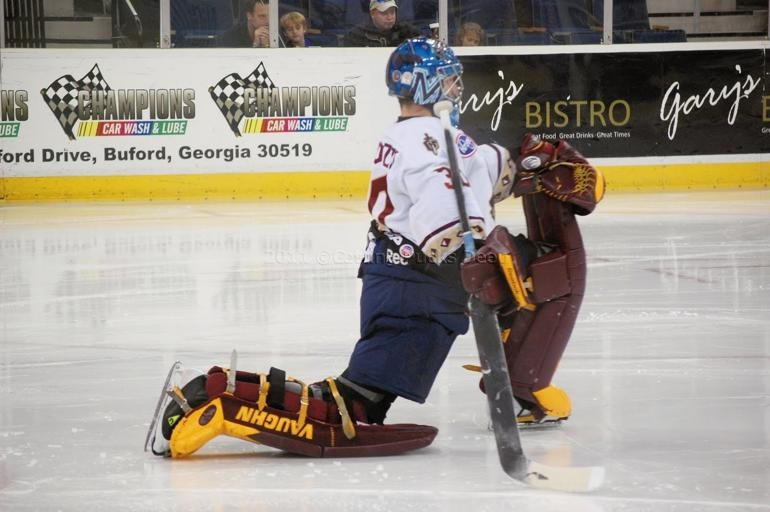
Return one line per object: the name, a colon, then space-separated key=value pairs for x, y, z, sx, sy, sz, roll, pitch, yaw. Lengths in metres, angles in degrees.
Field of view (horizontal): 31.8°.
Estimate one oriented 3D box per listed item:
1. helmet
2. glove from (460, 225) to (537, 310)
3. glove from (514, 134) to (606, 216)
helmet: x=0.213 y=-1.181 z=8.648 sx=0.520 sy=0.385 sz=0.390 roll=-3 pitch=11 yaw=-19
glove: x=0.699 y=0.090 z=8.307 sx=0.454 sy=0.549 sz=0.278 roll=-2 pitch=13 yaw=6
glove: x=1.145 y=-0.425 z=8.512 sx=0.292 sy=0.445 sz=0.622 roll=9 pitch=12 yaw=31
